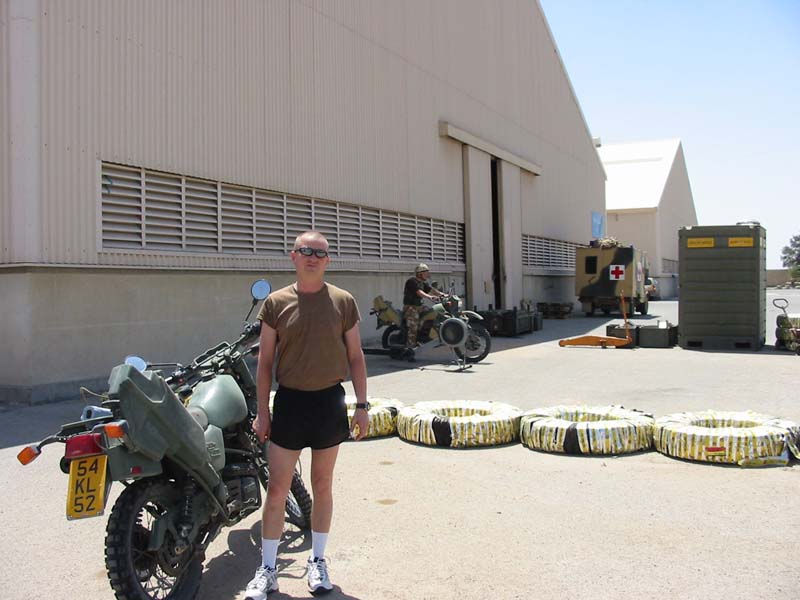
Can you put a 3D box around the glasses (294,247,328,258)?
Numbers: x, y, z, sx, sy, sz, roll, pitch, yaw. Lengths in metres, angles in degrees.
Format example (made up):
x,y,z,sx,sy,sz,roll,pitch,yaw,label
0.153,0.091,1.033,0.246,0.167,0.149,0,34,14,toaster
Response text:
x,y,z,sx,sy,sz,roll,pitch,yaw,label
-0.578,-0.316,4.559,0.216,0.073,0.095,-1,3,-12,glasses

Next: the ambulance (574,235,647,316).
x,y,z,sx,sy,sz,roll,pitch,yaw,label
8.986,-1.005,29.334,3.286,3.282,1.976,-4,5,-45,ambulance

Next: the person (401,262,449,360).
x,y,z,sx,sy,sz,roll,pitch,yaw,label
0.448,0.203,14.763,0.704,1.908,0.814,3,7,-26,person
